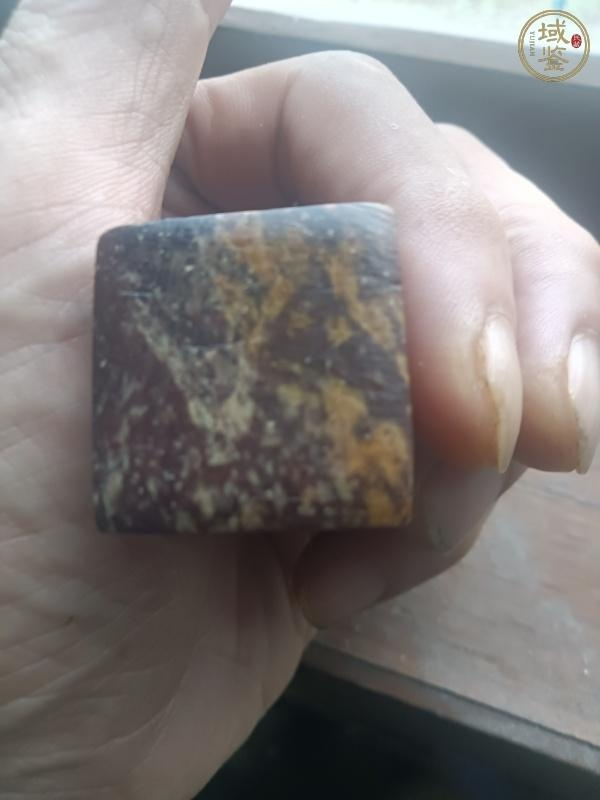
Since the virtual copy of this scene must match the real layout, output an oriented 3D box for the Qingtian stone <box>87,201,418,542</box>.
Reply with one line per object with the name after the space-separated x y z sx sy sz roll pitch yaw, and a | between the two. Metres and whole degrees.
-0.021 -0.012 0.320 0.151 0.050 0.126 -1 84 4 | Qingtian stone
